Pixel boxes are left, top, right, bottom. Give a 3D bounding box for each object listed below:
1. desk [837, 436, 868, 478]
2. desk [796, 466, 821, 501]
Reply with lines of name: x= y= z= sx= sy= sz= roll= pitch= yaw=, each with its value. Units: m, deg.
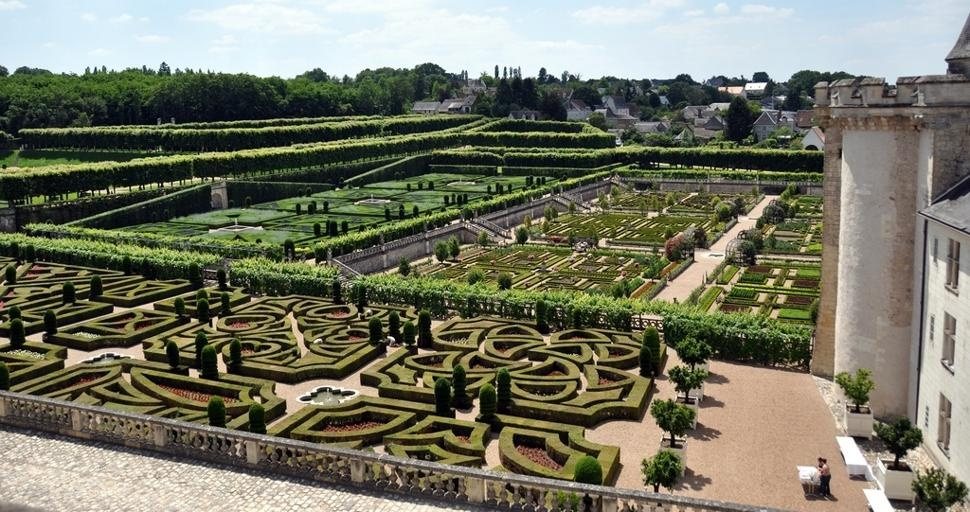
desk: x=20.706 y=11.460 z=47.610 sx=1.622 sy=0.822 sz=3.781 roll=-1 pitch=14 yaw=22
desk: x=17.793 y=12.185 z=46.467 sx=1.254 sy=0.588 sz=2.720 roll=2 pitch=5 yaw=20
